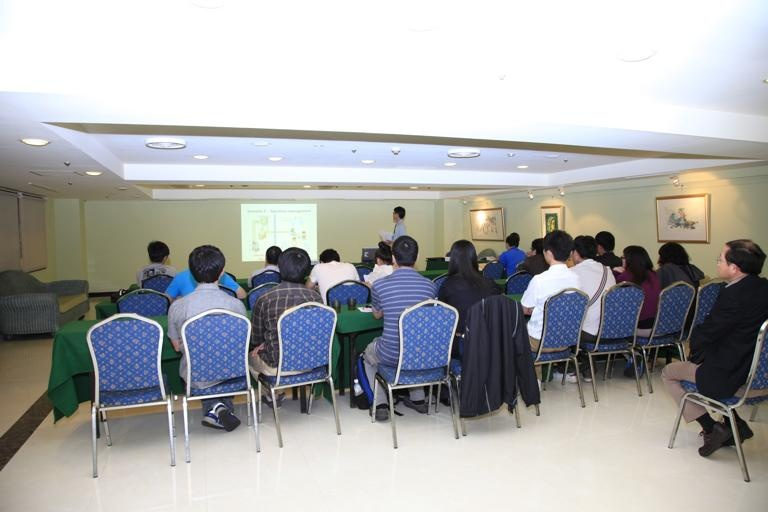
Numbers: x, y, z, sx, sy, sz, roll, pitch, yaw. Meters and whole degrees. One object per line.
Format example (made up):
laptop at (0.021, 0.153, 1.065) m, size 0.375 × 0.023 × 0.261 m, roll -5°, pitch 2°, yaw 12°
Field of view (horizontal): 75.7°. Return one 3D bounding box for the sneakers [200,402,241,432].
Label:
sneakers at (-1.447, 1.410, 4.347) m, size 0.182 × 0.160 × 0.382 m, roll -10°, pitch -25°, yaw -15°

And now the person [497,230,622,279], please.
person at (2.627, -0.100, 6.665) m, size 0.893 × 0.753 × 0.861 m, roll -3°, pitch 8°, yaw -19°

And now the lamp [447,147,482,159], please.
lamp at (1.133, -1.469, 7.085) m, size 0.472 × 0.157 × 0.871 m, roll 1°, pitch 13°, yaw 9°

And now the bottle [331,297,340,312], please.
bottle at (-0.470, 0.493, 5.000) m, size 0.106 × 0.109 × 0.102 m, roll -4°, pitch 11°, yaw -22°

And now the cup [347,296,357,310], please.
cup at (-0.339, 0.495, 5.257) m, size 0.112 × 0.119 × 0.109 m, roll -1°, pitch 2°, yaw 0°

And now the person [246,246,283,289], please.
person at (-2.018, 0.138, 8.238) m, size 0.604 × 0.897 × 0.551 m, roll 7°, pitch 31°, yaw -9°

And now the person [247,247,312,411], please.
person at (-0.875, 0.527, 4.393) m, size 0.603 × 1.132 × 0.538 m, roll -9°, pitch 16°, yaw -29°

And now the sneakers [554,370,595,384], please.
sneakers at (2.100, 1.355, 5.532) m, size 0.424 × 0.176 × 0.155 m, roll 4°, pitch 5°, yaw 44°

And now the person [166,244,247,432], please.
person at (-1.524, 0.760, 4.325) m, size 0.647 × 1.676 × 0.736 m, roll -8°, pitch 16°, yaw -24°

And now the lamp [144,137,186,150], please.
lamp at (-2.643, -1.375, 5.996) m, size 0.448 × 0.123 × 0.571 m, roll -7°, pitch 14°, yaw -24°

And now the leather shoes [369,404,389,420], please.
leather shoes at (-0.031, 1.456, 4.613) m, size 0.098 × 0.078 × 0.179 m, roll 0°, pitch 4°, yaw -18°

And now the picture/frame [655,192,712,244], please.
picture/frame at (4.975, -0.643, 8.183) m, size 0.106 × 0.906 × 1.005 m, roll -2°, pitch -1°, yaw -34°
